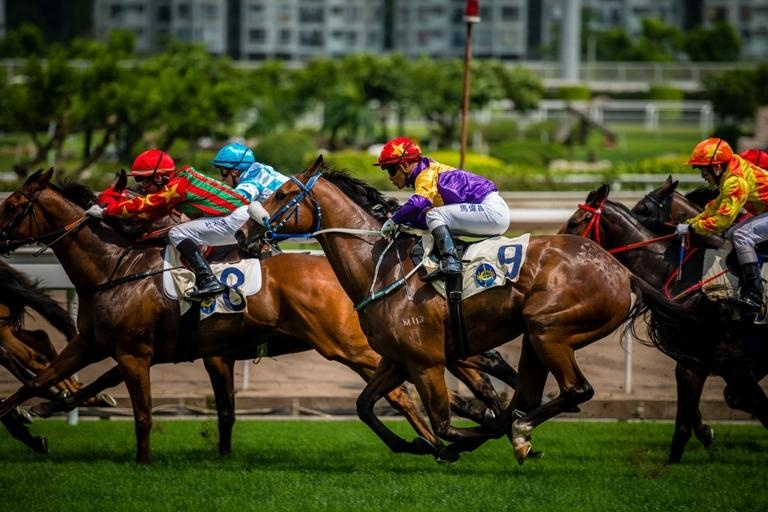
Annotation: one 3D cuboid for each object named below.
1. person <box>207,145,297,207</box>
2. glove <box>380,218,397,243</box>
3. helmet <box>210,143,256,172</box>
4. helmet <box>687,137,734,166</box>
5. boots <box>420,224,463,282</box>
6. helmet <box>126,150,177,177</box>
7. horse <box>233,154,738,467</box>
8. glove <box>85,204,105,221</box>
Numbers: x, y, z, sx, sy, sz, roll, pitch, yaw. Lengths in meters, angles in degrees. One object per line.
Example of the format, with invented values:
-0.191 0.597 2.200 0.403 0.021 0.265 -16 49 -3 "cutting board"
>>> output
-1.806 -1.055 18.795 1.100 0.420 0.687 20 39 6 "person"
0.045 -0.313 17.886 0.188 0.235 0.079 20 37 -25 "glove"
-1.993 -1.287 18.844 0.528 0.264 0.346 4 5 -7 "helmet"
4.244 -1.352 18.700 0.522 0.254 0.350 2 2 1 "helmet"
0.738 -0.032 17.721 0.450 0.686 0.195 1 5 1 "boots"
-3.012 -1.214 18.587 0.519 0.261 0.353 5 8 7 "helmet"
1.465 0.807 18.178 7.132 3.477 1.467 1 -8 17 "horse"
-3.716 -0.564 18.461 0.173 0.169 0.200 14 19 8 "glove"
